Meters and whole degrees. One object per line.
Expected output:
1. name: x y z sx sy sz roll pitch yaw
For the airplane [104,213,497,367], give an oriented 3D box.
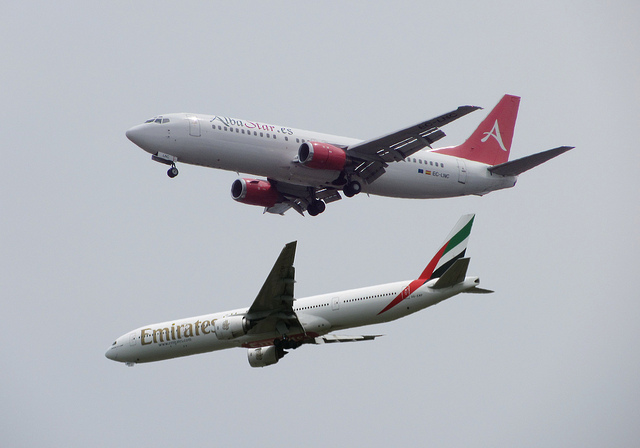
1. airplane: -1.667 3.465 50.969 18.144 5.930 17.606 -9 -17 8
